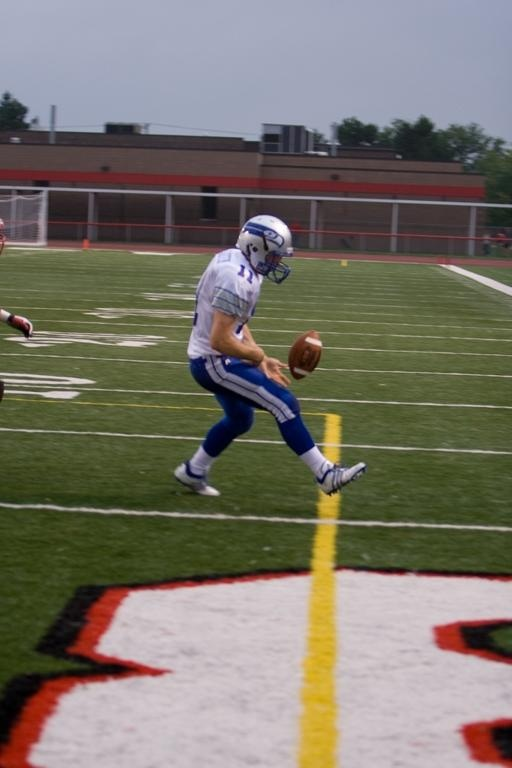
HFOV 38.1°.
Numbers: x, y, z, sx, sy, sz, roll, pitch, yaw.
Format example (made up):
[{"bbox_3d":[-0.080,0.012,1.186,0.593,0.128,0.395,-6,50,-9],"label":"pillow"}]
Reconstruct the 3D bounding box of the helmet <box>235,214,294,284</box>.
[{"bbox_3d":[0.049,-0.674,3.911,0.384,0.316,0.247,10,-7,13],"label":"helmet"}]

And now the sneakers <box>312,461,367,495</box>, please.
[{"bbox_3d":[0.425,0.455,3.615,0.257,0.188,0.105,9,10,43],"label":"sneakers"}]

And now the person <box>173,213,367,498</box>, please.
[{"bbox_3d":[0.002,-0.113,3.818,0.612,1.522,0.896,-1,8,-26],"label":"person"}]
